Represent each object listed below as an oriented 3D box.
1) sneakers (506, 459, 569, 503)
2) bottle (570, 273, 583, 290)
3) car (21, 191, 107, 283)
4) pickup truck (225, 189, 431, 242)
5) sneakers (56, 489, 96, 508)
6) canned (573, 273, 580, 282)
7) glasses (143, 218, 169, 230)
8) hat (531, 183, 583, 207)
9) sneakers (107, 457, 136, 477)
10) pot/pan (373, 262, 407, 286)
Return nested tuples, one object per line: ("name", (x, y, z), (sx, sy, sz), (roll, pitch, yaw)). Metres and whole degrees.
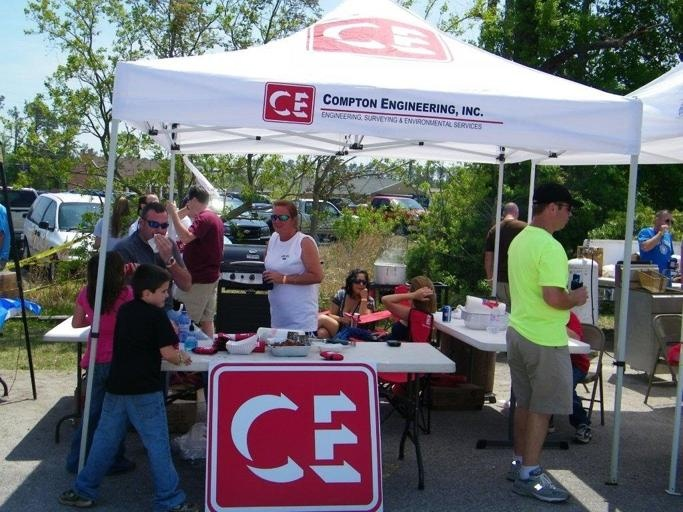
("sneakers", (1.687, 1.957, 6.130), (0.573, 0.298, 0.214), (6, 7, 23))
("bottle", (2.567, 0.287, 7.624), (0.119, 0.226, 0.118), (-5, 24, 2))
("car", (-5.279, -0.456, 13.476), (1.504, 1.270, 2.344), (0, 1, -36))
("pickup truck", (-0.317, -0.768, 13.871), (3.858, 1.323, 1.643), (-2, 8, -3))
("sneakers", (-2.158, 1.997, 5.765), (0.306, 0.162, 0.125), (8, 1, 2))
("canned", (2.775, 0.259, 8.243), (0.066, 0.126, 0.069), (-11, 14, -42))
("glasses", (-1.717, -0.293, 6.379), (0.245, 0.115, 0.132), (0, 10, -9))
("hat", (1.882, -0.534, 6.095), (0.325, 0.169, 0.228), (-4, 6, -2))
("sneakers", (-1.964, 1.896, 6.250), (0.172, 0.059, 0.141), (0, 4, -7))
("pot/pan", (0.681, 0.243, 10.350), (0.361, 0.229, 0.352), (-2, 6, -45))
